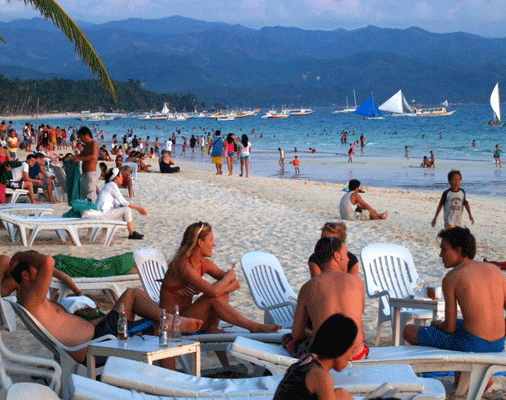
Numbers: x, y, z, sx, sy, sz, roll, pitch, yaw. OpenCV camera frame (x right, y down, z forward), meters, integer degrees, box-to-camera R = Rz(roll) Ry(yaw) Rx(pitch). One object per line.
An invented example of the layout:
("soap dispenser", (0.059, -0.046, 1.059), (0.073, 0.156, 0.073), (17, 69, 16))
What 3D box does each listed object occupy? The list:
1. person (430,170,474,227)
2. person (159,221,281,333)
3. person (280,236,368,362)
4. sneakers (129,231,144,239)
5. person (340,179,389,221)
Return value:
("person", (3.262, 0.009, 8.608), (0.503, 0.973, 0.804), (3, 5, 21))
("person", (-0.153, 0.679, 5.410), (1.406, 1.426, 0.692), (1, 13, -3))
("person", (0.641, 0.805, 4.511), (0.856, 1.050, 0.846), (-1, -6, 10))
("sneakers", (-2.038, 0.630, 9.343), (0.228, 0.149, 0.122), (-4, 10, -4))
("person", (2.578, 0.018, 12.320), (1.173, 0.921, 0.704), (2, 11, -24))
